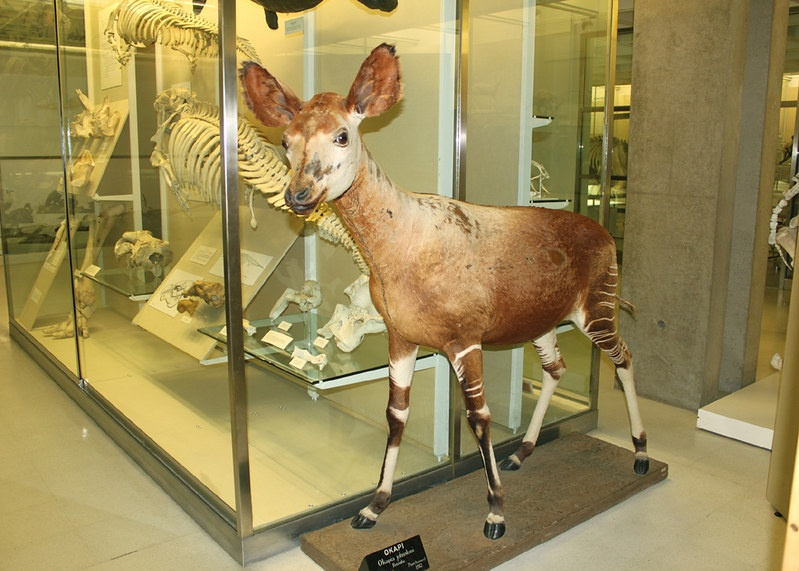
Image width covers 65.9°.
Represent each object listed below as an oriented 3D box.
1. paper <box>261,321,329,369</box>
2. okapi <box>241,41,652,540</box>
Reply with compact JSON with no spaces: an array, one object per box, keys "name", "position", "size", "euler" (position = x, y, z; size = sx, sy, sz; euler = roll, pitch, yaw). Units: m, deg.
[{"name":"paper","position":[-0.588,0.355,3.414],"size":[0.436,0.136,0.158],"euler":[31,44,31]},{"name":"okapi","position":[0.422,0.055,3.296],"size":[2.462,2.516,0.853],"euler":[-5,10,-36]}]
